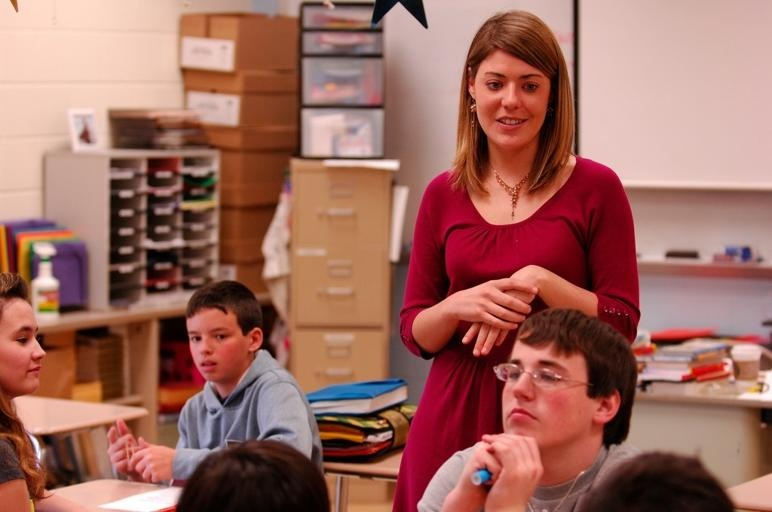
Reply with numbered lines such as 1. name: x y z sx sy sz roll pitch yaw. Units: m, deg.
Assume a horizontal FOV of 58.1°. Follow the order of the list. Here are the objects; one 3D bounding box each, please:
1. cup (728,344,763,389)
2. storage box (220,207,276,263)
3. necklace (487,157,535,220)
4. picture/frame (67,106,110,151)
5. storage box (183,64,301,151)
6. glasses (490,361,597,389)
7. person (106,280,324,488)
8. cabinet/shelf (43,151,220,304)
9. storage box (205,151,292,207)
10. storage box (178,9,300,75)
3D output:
1. cup: 1.687 0.495 3.192 0.142 0.216 0.178 -1 -11 7
2. storage box: -0.833 -0.135 4.495 0.313 0.426 0.450 2 4 34
3. necklace: 0.320 -0.164 1.755 0.063 0.156 0.018 -1 -29 15
4. picture/frame: -1.730 -0.727 4.042 0.202 0.257 0.070 -2 2 -29
5. storage box: -0.884 -0.956 4.516 0.873 0.407 0.832 6 14 1
6. glasses: 0.326 0.250 1.456 0.190 0.046 0.041 -1 2 15
7. person: -0.675 0.438 2.648 0.646 0.878 0.570 -23 -26 27
8. cabinet/shelf: -1.488 -0.172 3.952 0.421 0.856 0.907 0 1 42
9. storage box: -0.811 -0.474 4.297 0.364 0.227 0.367 -2 4 -45
10. storage box: -0.883 -1.349 4.443 0.477 0.317 0.645 -8 20 -26
